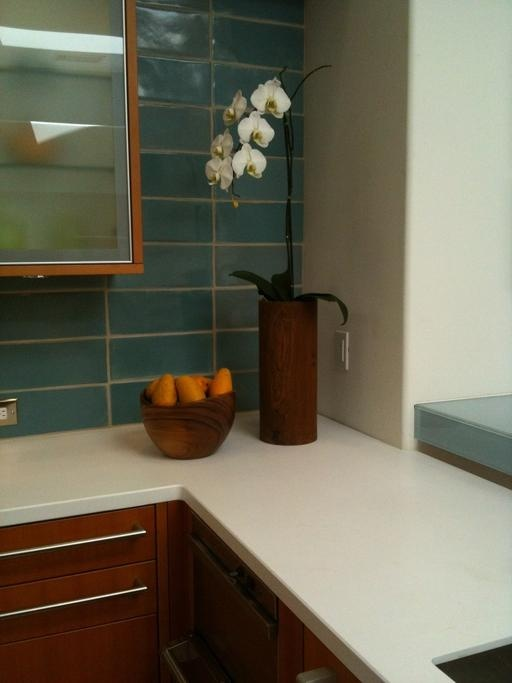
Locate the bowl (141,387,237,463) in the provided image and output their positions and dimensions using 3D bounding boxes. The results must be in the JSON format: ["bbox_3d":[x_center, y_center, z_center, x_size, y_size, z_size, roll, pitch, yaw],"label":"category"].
[{"bbox_3d":[-0.145,0.163,1.257,0.218,0.161,0.228,3,8,0],"label":"bowl"}]

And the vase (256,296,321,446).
[{"bbox_3d":[0.072,0.071,1.349,0.112,0.312,0.162,-2,5,-15],"label":"vase"}]

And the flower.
[{"bbox_3d":[0.031,-0.302,1.299,0.239,0.560,0.188,-3,4,-1],"label":"flower"}]
